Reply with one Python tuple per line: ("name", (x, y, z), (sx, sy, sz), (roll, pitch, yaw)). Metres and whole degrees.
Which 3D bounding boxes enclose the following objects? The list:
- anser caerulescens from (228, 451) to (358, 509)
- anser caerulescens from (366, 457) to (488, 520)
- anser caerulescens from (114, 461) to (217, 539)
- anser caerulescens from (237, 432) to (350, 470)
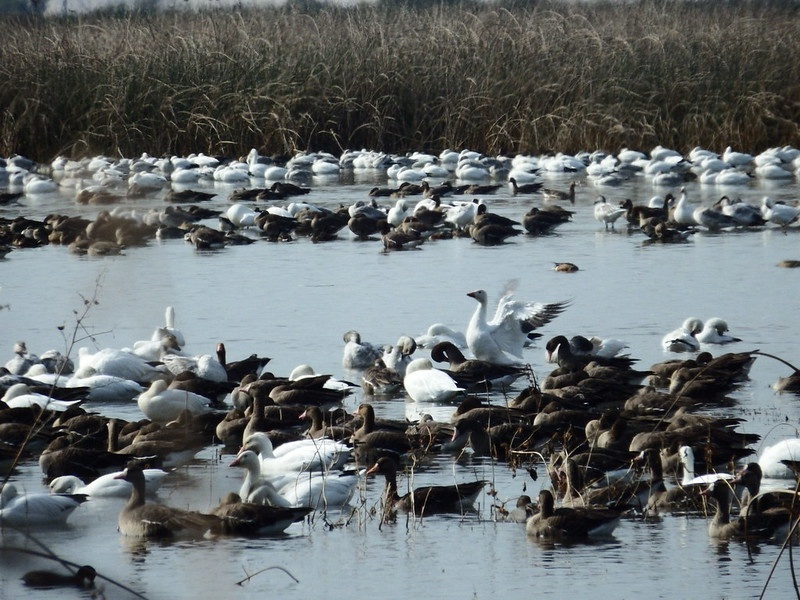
("anser caerulescens", (-1.331, 1.951, 15.332), (0.448, 0.714, 1.151), (-7, -1, 40))
("anser caerulescens", (0.274, 2.043, 15.149), (1.360, 0.721, 0.412), (-2, -19, -3))
("anser caerulescens", (-2.553, 2.135, 14.638), (1.166, 0.786, 0.419), (8, 14, -39))
("anser caerulescens", (-1.167, 1.760, 15.842), (1.401, 0.550, 0.473), (-3, 14, -3))
